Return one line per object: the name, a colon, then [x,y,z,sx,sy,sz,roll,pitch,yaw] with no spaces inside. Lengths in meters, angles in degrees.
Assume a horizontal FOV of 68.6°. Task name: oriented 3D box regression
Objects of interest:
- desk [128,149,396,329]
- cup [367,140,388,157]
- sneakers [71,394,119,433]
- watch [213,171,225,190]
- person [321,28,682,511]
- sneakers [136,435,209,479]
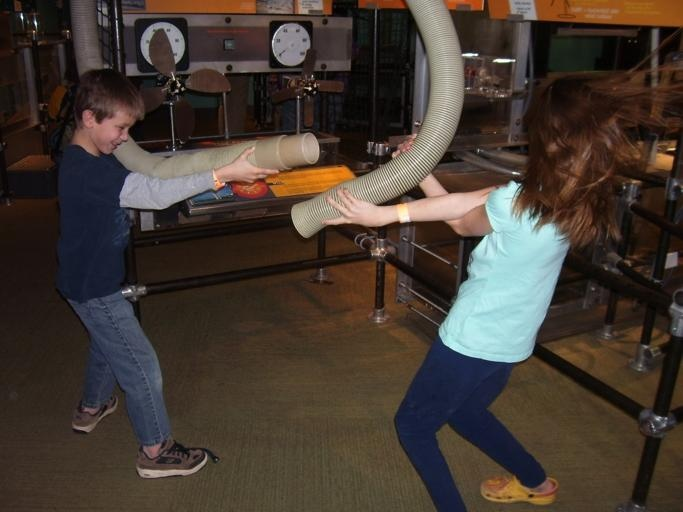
desk: [-0.682,-0.104,3.847,1.607,0.568,1.416,-5,22,-18]
cup: [0.285,-0.807,3.817,0.182,0.072,0.119,-2,14,-10]
sneakers: [-1.592,1.012,3.259,0.122,0.113,0.296,9,19,19]
watch: [-0.580,-0.350,2.328,0.072,0.070,0.019,38,63,16]
person: [0.668,0.198,2.053,1.069,1.790,0.565,-5,24,-14]
sneakers: [-0.930,1.132,2.926,0.487,0.218,0.165,-1,16,-11]
